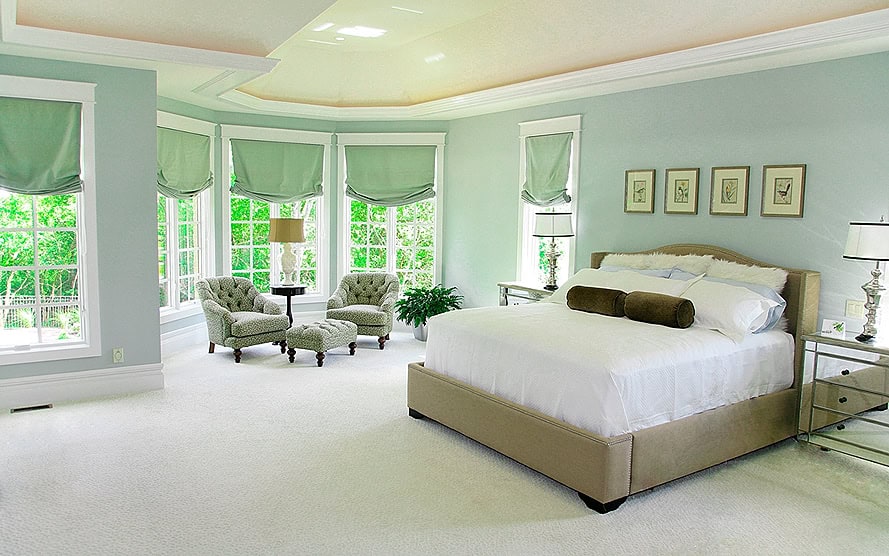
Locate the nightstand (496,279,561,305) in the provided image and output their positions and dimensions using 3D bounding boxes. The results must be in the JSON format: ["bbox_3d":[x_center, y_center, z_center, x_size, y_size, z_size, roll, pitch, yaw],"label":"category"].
[{"bbox_3d":[1.131,0.190,7.470,0.361,0.453,0.542,-7,11,-38],"label":"nightstand"}]

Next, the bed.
[{"bbox_3d":[1.828,0.789,5.287,2.834,1.485,2.436,-2,4,-31],"label":"bed"}]

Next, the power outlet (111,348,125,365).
[{"bbox_3d":[-3.653,0.882,6.109,0.177,0.144,0.055,12,-8,-43],"label":"power outlet"}]

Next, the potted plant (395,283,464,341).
[{"bbox_3d":[-0.280,0.522,8.587,1.005,0.617,0.929,1,-2,-20],"label":"potted plant"}]

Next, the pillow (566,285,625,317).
[{"bbox_3d":[1.592,0.244,5.709,0.625,0.277,0.274,0,-13,39],"label":"pillow"}]

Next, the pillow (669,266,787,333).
[{"bbox_3d":[2.925,0.190,5.596,0.880,0.277,0.699,3,23,20],"label":"pillow"}]

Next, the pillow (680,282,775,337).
[{"bbox_3d":[2.691,0.277,5.187,0.624,0.185,0.603,17,56,31],"label":"pillow"}]

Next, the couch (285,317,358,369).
[{"bbox_3d":[-1.693,0.746,7.369,0.637,0.423,0.902,5,5,33],"label":"couch"}]
